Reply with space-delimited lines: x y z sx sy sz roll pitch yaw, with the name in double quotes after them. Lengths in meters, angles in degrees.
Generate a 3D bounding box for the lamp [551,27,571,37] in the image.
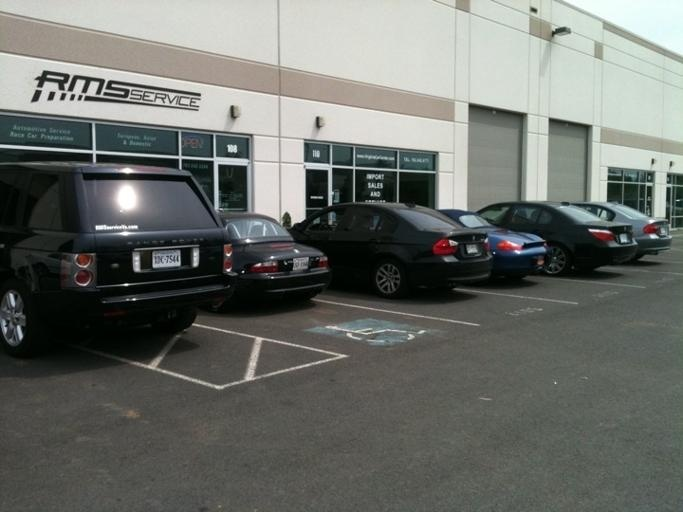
11.507 -11.819 26.602 0.809 0.358 0.867 -3 4 -34 "lamp"

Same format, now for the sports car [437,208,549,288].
3.336 -0.284 12.070 1.360 0.930 2.789 -6 14 -38 "sports car"

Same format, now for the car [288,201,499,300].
0.925 -0.234 10.712 3.733 1.260 1.732 12 12 43 "car"

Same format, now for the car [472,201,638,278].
5.437 -0.694 13.759 1.865 1.372 4.183 -7 12 -43 "car"

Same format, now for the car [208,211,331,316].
-1.232 0.046 8.764 1.149 0.878 2.552 -7 14 -42 "car"
